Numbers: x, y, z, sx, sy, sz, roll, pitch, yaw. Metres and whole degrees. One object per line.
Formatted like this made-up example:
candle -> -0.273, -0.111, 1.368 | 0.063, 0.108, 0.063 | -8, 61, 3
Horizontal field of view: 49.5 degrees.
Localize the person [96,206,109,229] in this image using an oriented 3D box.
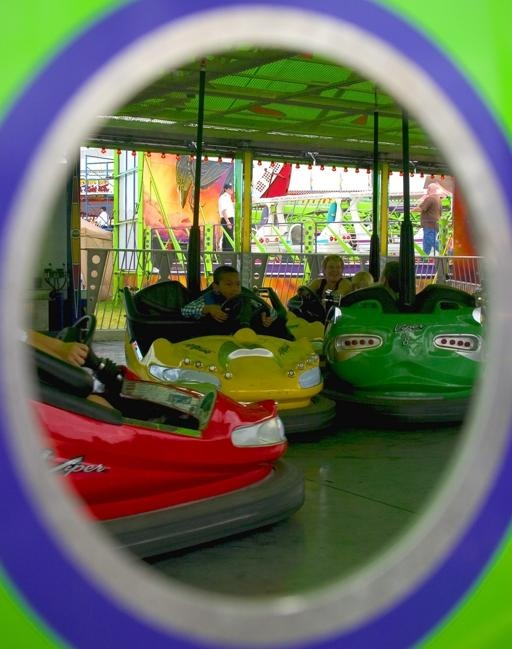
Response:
person -> -5.563, -3.888, 20.194 | 0.478, 1.047, 1.909 | -3, 2, -15
